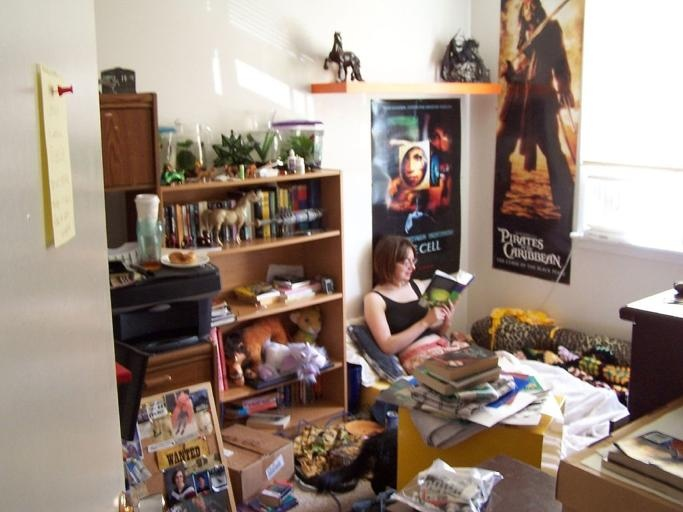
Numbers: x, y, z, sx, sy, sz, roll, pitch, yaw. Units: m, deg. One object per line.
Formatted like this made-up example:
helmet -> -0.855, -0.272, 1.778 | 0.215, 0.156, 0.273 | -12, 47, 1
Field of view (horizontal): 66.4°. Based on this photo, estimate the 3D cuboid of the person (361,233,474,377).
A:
person -> 0.571, 0.359, 3.719 | 0.722, 0.993, 0.727 | -3, 4, 26

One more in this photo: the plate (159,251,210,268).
plate -> -0.675, 0.015, 2.245 | 0.197, 0.050, 0.183 | -7, 14, -26

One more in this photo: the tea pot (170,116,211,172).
tea pot -> -0.792, -0.581, 2.791 | 0.101, 0.284, 0.223 | 7, 13, 33

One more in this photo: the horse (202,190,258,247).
horse -> -0.631, -0.205, 2.934 | 0.277, 0.257, 0.080 | -7, 6, -39

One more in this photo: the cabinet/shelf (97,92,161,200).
cabinet/shelf -> -0.975, -0.500, 2.525 | 0.334, 0.493, 0.378 | -4, 1, -14

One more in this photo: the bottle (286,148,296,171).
bottle -> -0.295, -0.559, 3.062 | 0.048, 0.133, 0.107 | -2, 11, -6

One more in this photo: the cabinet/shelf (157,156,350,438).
cabinet/shelf -> -0.615, -0.093, 3.031 | 1.258, 2.022, 0.453 | 5, -14, -26

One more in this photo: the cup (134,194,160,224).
cup -> -0.834, -0.205, 2.297 | 0.111, 0.125, 0.111 | 0, 12, 0

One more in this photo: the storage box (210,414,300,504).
storage box -> -0.458, 1.027, 2.673 | 0.343, 0.227, 0.340 | -7, 12, -41

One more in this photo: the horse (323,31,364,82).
horse -> 0.003, -1.286, 3.402 | 0.237, 0.285, 0.200 | -6, 13, -27

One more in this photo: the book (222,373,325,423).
book -> -0.436, 0.867, 3.160 | 0.339, 0.090, 0.314 | -5, 3, -43

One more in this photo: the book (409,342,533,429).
book -> 0.464, 0.504, 1.973 | 0.300, 0.121, 0.302 | 5, 10, 42

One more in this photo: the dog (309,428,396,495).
dog -> 0.066, 1.074, 2.618 | 0.457, 0.291, 0.270 | -2, 11, -5
